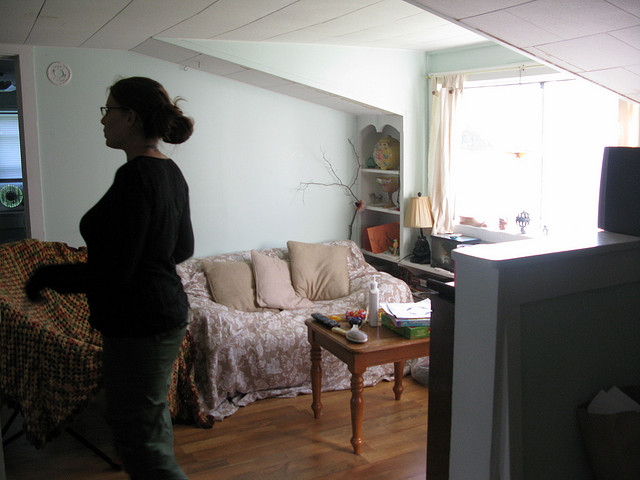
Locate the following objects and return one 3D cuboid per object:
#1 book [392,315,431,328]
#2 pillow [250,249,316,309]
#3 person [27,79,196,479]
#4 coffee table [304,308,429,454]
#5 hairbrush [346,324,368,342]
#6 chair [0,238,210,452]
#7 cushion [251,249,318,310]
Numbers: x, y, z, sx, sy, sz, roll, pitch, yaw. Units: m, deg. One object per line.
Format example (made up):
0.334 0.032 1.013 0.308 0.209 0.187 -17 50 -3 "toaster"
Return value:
0.566 0.508 2.976 0.185 0.044 0.185 -1 1 12 "book"
-0.319 0.340 4.066 0.149 0.499 0.505 -31 -28 33 "pillow"
-0.806 0.162 1.984 0.533 1.589 0.456 0 13 0 "person"
0.214 0.754 3.254 0.799 0.744 0.788 -4 12 -22 "coffee table"
0.224 0.562 3.001 0.122 0.066 0.270 0 13 2 "hairbrush"
-1.553 0.629 3.314 1.444 1.420 1.161 0 4 18 "chair"
-0.310 0.317 4.069 0.150 0.504 0.509 -32 -29 34 "cushion"
